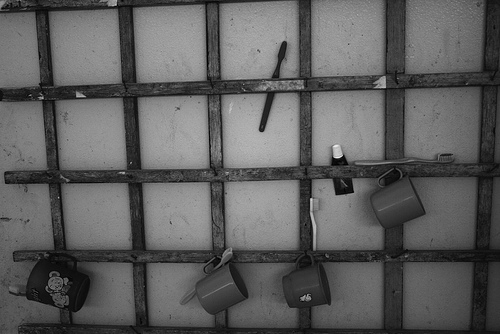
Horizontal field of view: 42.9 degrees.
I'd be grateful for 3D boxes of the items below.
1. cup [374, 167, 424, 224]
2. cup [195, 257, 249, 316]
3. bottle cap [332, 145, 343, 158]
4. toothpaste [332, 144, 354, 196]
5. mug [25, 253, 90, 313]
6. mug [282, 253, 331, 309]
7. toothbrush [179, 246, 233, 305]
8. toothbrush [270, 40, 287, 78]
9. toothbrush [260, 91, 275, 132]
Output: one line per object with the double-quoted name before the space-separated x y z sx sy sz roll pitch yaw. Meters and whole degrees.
"cup" 0.717 0.152 3.154 0.220 0.182 0.291 -32 -108 18
"cup" -0.149 0.611 3.159 0.246 0.180 0.175 -21 -88 14
"bottle cap" 0.425 -0.075 3.117 0.049 0.057 0.054 -27 -83 -19
"toothpaste" 0.451 0.012 3.146 0.090 0.035 0.253 -8 -80 3
"mug" -0.922 0.549 3.208 0.281 0.256 0.299 3 -81 21
"mug" 0.298 0.571 3.211 0.234 0.362 0.244 -5 -72 11
"toothbrush" -0.207 0.525 3.135 0.386 0.033 0.069 -43 -59 -11
"toothbrush" 0.140 -0.525 3.109 0.048 0.016 0.206 16 -88 -1
"toothbrush" 0.082 -0.280 3.122 0.031 0.014 0.269 16 -86 6
